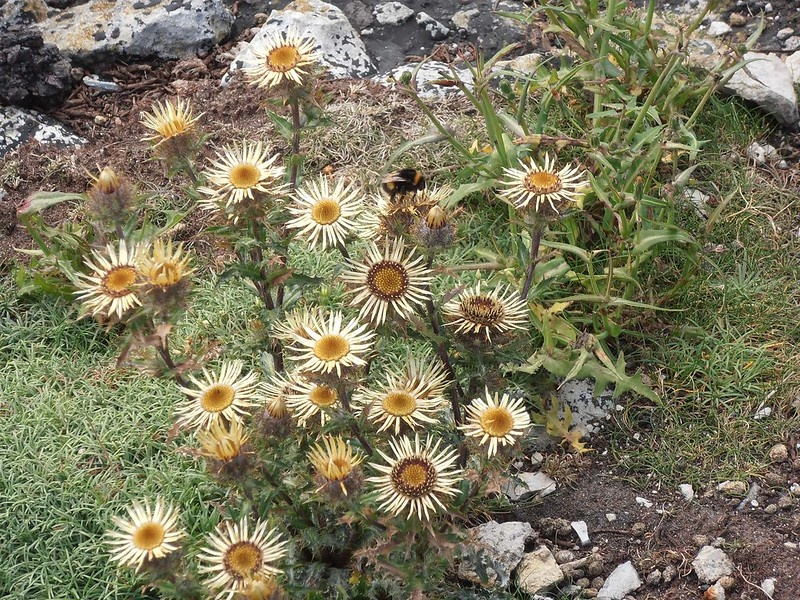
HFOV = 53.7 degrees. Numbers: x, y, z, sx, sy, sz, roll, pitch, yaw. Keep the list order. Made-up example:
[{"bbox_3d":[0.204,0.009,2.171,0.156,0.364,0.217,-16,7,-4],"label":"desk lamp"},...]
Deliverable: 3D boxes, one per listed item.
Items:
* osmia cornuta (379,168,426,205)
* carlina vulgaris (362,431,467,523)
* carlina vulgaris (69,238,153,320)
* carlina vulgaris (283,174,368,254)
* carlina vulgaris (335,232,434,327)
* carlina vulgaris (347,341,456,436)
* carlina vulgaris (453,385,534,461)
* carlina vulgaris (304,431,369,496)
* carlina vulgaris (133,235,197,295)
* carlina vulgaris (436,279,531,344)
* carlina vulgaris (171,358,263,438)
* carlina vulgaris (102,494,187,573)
[{"bbox_3d":[0.019,-0.597,3.996,0.174,0.093,0.195,-16,25,-29],"label":"osmia cornuta"},{"bbox_3d":[0.068,0.816,3.531,0.387,0.404,0.165,5,89,-10],"label":"carlina vulgaris"},{"bbox_3d":[-1.345,-0.098,3.814,0.436,0.195,0.459,-18,56,11],"label":"carlina vulgaris"},{"bbox_3d":[-0.328,-0.425,3.929,0.389,0.211,0.417,8,74,8],"label":"carlina vulgaris"},{"bbox_3d":[-0.055,-0.095,3.668,0.362,0.370,0.143,22,85,-31],"label":"carlina vulgaris"},{"bbox_3d":[-0.007,0.433,3.705,0.374,0.167,0.391,-10,35,23],"label":"carlina vulgaris"},{"bbox_3d":[0.427,0.612,3.618,0.285,0.311,0.146,13,82,39],"label":"carlina vulgaris"},{"bbox_3d":[-0.283,0.727,3.506,0.247,0.149,0.255,-8,30,-17],"label":"carlina vulgaris"},{"bbox_3d":[-1.083,-0.159,3.692,0.290,0.204,0.320,-2,44,-2],"label":"carlina vulgaris"},{"bbox_3d":[0.403,0.121,3.824,0.395,0.423,0.185,8,108,26],"label":"carlina vulgaris"},{"bbox_3d":[-0.861,0.461,3.729,0.423,0.162,0.396,-4,44,22],"label":"carlina vulgaris"},{"bbox_3d":[-1.214,1.124,3.755,0.351,0.172,0.369,7,49,20],"label":"carlina vulgaris"}]
